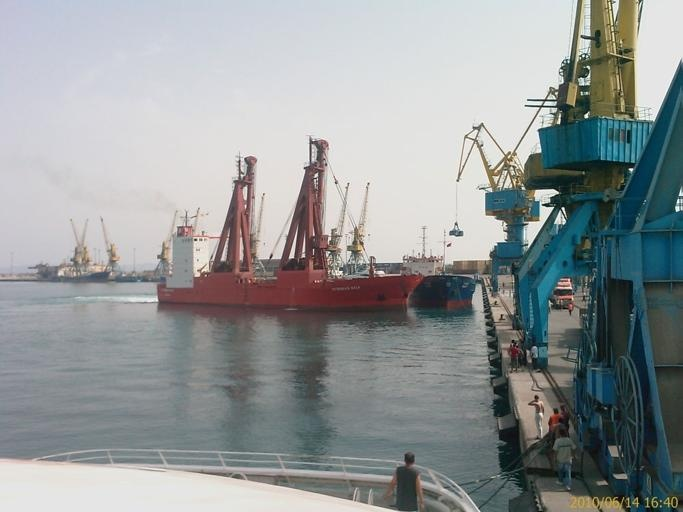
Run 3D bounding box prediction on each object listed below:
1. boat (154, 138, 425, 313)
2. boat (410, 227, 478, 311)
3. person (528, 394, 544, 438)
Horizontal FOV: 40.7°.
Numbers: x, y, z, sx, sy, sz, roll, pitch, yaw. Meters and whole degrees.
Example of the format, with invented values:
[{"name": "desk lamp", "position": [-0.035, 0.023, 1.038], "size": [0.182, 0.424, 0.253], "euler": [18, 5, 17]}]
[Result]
[{"name": "boat", "position": [-5.003, -2.089, 73.094], "size": [27.487, 11.799, 4.434], "euler": [-1, -9, 38]}, {"name": "boat", "position": [10.000, 1.875, 79.819], "size": [5.610, 8.309, 15.422], "euler": [-1, -5, -3]}, {"name": "person", "position": [6.816, 5.567, 31.935], "size": [0.457, 1.358, 1.276], "euler": [2, -1, 12]}]
